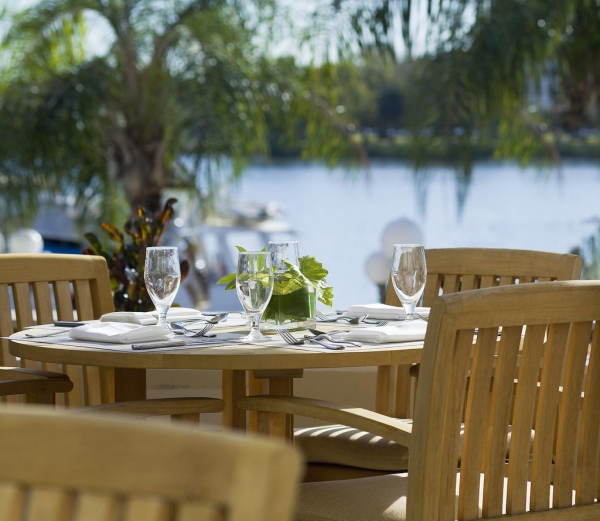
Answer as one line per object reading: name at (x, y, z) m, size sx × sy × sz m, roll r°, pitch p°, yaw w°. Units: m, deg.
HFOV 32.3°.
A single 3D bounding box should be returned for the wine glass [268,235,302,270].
wine glass at (-0.043, -0.022, 2.408) m, size 0.057 × 0.075 × 0.066 m, roll 0°, pitch 2°, yaw 0°
